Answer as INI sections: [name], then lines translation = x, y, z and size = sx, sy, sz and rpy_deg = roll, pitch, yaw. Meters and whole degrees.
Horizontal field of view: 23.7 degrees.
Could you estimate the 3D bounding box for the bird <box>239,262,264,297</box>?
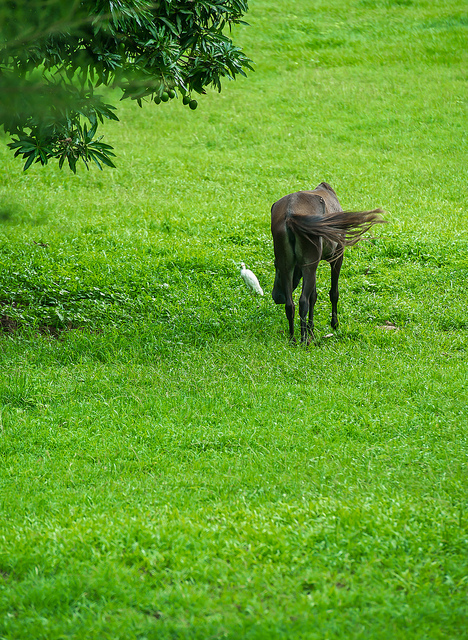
[bird]
translation = 0.322, -0.612, 17.428
size = 0.527, 0.610, 0.242
rpy_deg = 18, 26, 40
